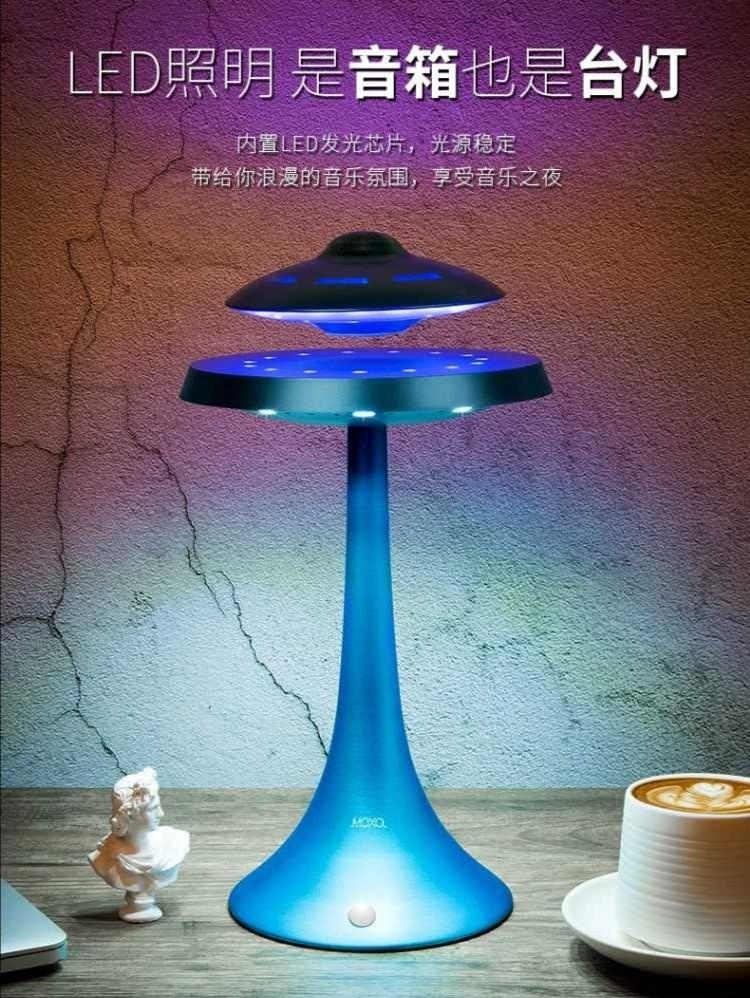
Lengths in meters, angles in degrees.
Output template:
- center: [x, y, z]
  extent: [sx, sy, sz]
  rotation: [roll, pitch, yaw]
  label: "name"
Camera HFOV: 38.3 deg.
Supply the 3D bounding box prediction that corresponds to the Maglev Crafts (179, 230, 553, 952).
- center: [-0.005, 0.082, 1.157]
  extent: [0.574, 0.614, 0.515]
  rotation: [0, 11, 2]
  label: "Maglev Crafts"
